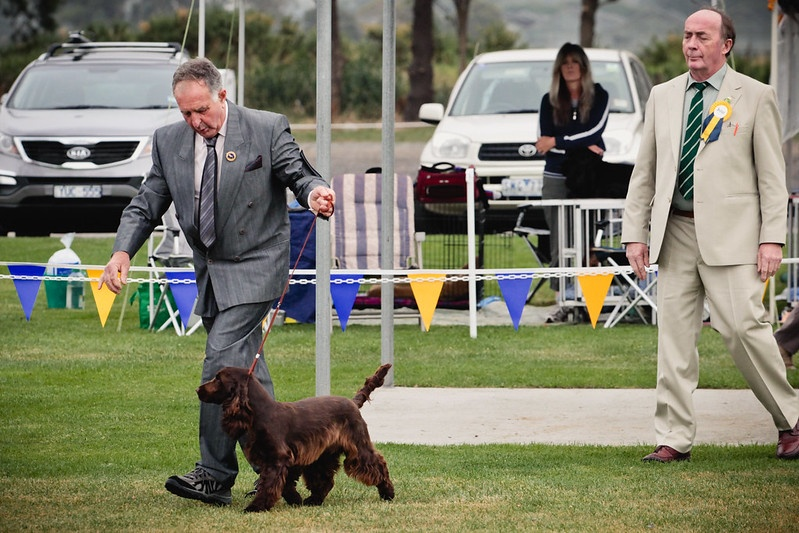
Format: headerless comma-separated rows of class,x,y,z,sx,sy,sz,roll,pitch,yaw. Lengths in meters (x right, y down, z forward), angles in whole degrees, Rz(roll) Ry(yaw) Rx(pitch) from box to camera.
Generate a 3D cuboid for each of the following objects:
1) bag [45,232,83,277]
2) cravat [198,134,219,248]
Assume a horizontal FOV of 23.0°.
bag,-4.317,-0.094,25.236,0.393,0.538,2.405,-1,6,-10
cravat,-1.906,-0.697,19.525,0.195,1.070,0.145,0,5,-7
